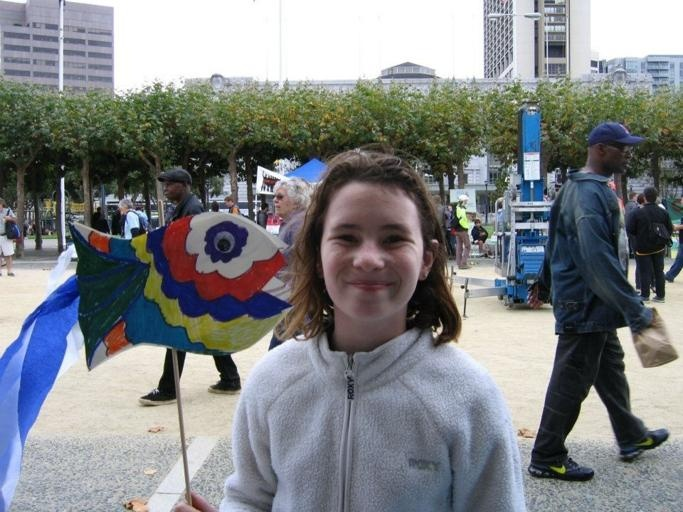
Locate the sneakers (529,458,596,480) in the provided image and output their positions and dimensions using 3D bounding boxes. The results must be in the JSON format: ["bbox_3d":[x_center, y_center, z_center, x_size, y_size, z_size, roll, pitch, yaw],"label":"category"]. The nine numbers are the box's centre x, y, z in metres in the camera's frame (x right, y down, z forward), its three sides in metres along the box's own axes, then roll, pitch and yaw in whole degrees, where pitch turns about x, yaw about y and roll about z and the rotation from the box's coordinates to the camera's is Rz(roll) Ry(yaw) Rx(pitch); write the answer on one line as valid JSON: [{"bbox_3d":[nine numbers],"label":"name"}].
[{"bbox_3d":[1.535,1.496,5.332,0.432,0.227,0.165,0,1,4],"label":"sneakers"}]

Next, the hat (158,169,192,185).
[{"bbox_3d":[-1.687,-0.797,7.668,0.247,0.117,0.187,8,2,3],"label":"hat"}]

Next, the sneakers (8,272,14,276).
[{"bbox_3d":[-8.772,0.485,20.036,0.192,0.084,0.072,-1,-1,44],"label":"sneakers"}]

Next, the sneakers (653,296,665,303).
[{"bbox_3d":[5.796,0.798,13.832,0.085,0.103,0.245,1,6,2],"label":"sneakers"}]

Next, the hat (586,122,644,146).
[{"bbox_3d":[1.964,-0.878,5.459,0.327,0.157,0.222,1,14,12],"label":"hat"}]

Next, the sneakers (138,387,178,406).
[{"bbox_3d":[-1.778,1.353,7.362,0.476,0.214,0.182,5,-9,-20],"label":"sneakers"}]

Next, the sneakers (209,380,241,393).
[{"bbox_3d":[-1.190,1.320,7.696,0.314,0.150,0.132,3,1,19],"label":"sneakers"}]

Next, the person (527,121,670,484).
[{"bbox_3d":[1.760,0.305,5.242,0.898,2.495,0.930,0,4,14],"label":"person"}]
